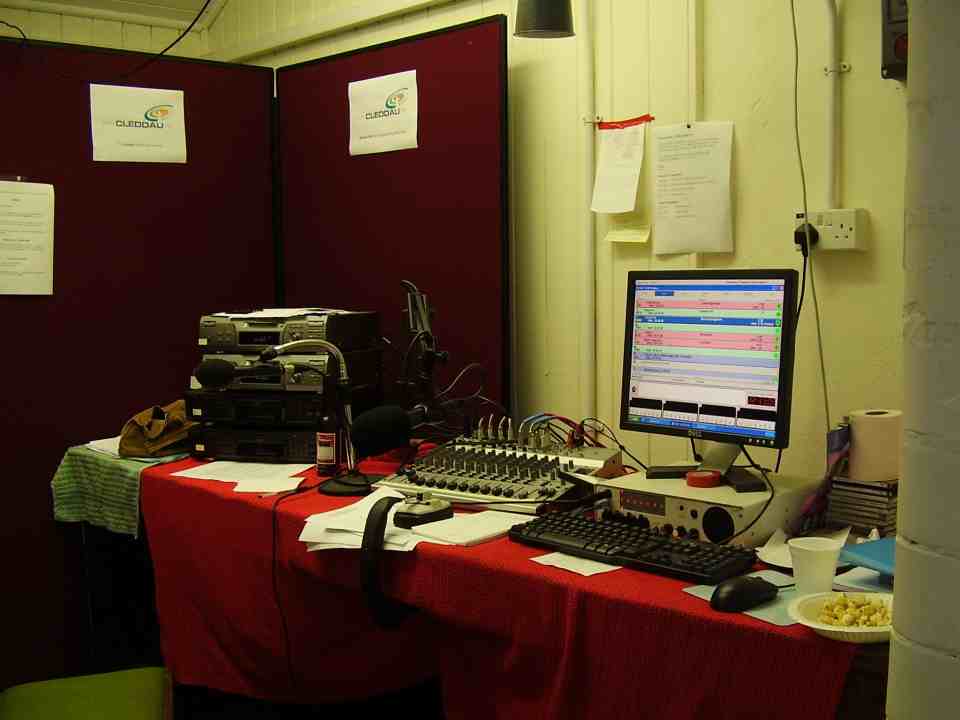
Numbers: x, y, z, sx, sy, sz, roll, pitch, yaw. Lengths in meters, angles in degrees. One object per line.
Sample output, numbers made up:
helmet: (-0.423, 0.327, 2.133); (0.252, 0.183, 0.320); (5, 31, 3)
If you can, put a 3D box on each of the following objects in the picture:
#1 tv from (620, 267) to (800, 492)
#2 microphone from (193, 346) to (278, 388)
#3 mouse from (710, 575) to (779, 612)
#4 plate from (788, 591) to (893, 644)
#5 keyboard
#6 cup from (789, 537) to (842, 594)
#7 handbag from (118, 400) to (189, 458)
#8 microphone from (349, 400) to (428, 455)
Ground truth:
tv: (0.584, 0.039, 1.952); (0.582, 0.526, 0.071); (3, 1, 40)
microphone: (-0.735, 0.036, 2.311); (0.177, 0.076, 0.181); (-1, 8, 8)
mouse: (0.504, 0.435, 1.462); (0.158, 0.050, 0.051); (-4, 7, -27)
plate: (0.631, 0.443, 1.362); (0.154, 0.055, 0.190); (3, 7, 29)
keyboard: (0.330, 0.406, 1.723); (0.508, 0.056, 0.217); (3, 7, 31)
cup: (0.624, 0.386, 1.503); (0.099, 0.106, 0.102); (0, -1, 0)
handbag: (-1.091, 0.195, 2.668); (0.183, 0.087, 0.243); (9, 22, 29)
microphone: (-0.267, 0.176, 2.146); (0.132, 0.083, 0.180); (-11, 3, -5)
